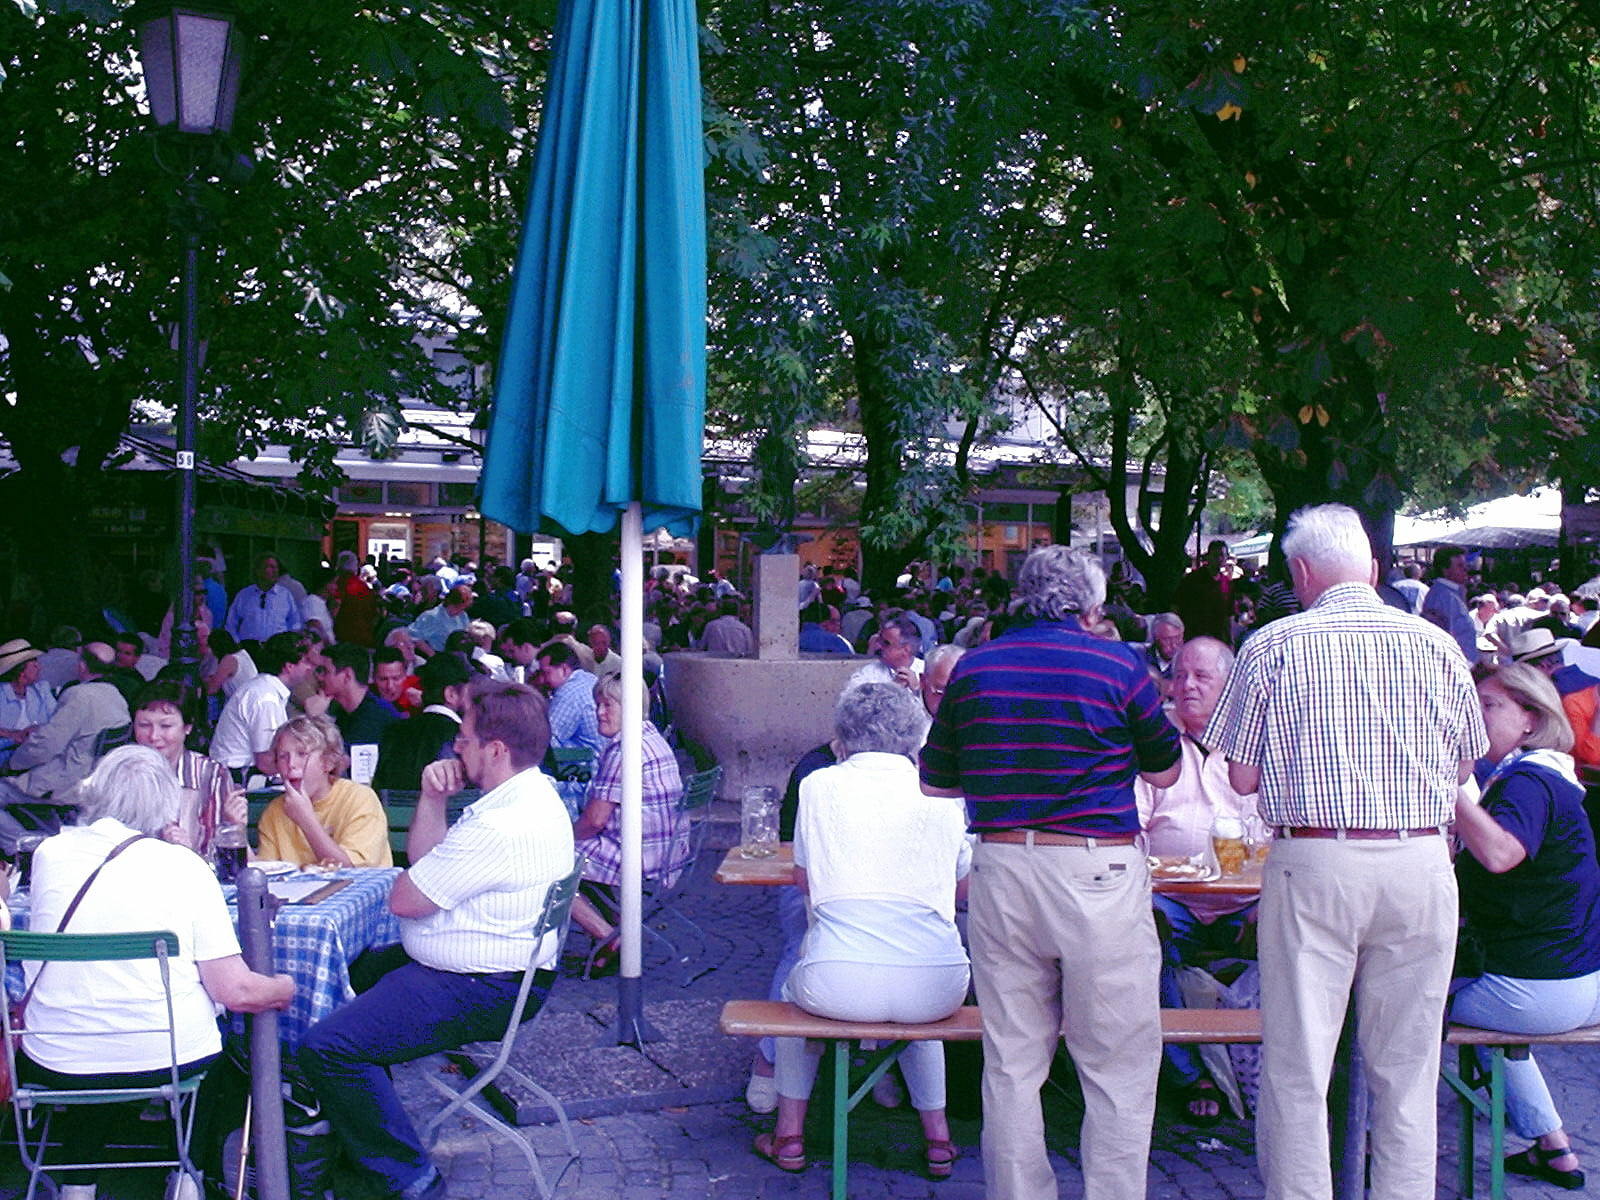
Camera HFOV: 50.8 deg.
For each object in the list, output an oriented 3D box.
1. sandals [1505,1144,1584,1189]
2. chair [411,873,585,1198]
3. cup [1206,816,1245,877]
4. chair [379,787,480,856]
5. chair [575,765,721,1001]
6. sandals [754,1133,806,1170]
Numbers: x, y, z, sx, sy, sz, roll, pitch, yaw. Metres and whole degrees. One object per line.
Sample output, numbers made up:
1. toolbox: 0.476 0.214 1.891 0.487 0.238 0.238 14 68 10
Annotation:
1. sandals: 3.243 2.437 7.374 0.134 0.156 0.361 -2 6 -38
2. chair: -1.336 1.830 7.613 0.670 1.336 1.414 1 1 -13
3. cup: 2.033 1.194 8.132 0.206 0.335 0.201 0 -9 0
4. chair: -1.901 1.126 8.547 0.544 0.436 0.220 1 -5 -11
5. chair: -0.987 1.755 10.825 0.974 1.479 1.023 2 -3 5
6. sandals: -0.087 2.428 7.488 0.100 0.125 0.269 2 2 -32
